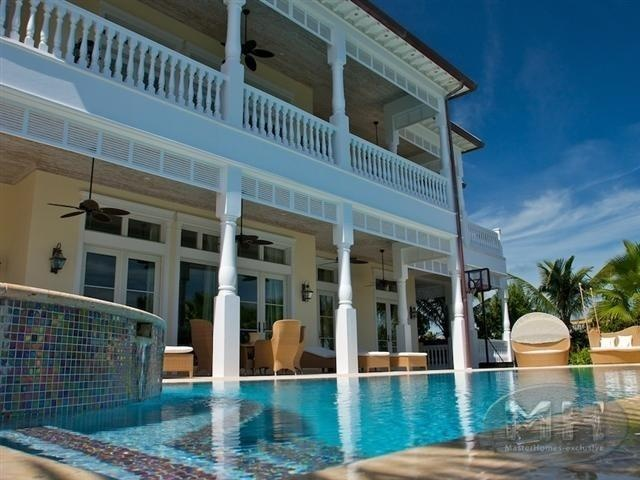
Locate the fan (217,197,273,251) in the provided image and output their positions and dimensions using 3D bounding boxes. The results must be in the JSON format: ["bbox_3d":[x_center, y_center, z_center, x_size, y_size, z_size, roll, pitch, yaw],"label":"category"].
[{"bbox_3d":[-1.862,-0.390,10.524,1.037,1.057,0.994,17,26,32],"label":"fan"}]

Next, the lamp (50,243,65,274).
[{"bbox_3d":[-5.188,0.348,8.721,0.278,0.620,0.289,3,-19,-23],"label":"lamp"}]

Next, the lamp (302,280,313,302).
[{"bbox_3d":[-0.367,1.562,13.093,0.227,0.582,0.382,-17,-21,37],"label":"lamp"}]

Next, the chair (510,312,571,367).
[{"bbox_3d":[7.175,3.420,14.198,1.668,1.961,2.233,-8,-9,26],"label":"chair"}]

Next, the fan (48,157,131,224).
[{"bbox_3d":[-4.518,-0.928,8.734,1.498,1.083,0.837,-19,-22,39],"label":"fan"}]
